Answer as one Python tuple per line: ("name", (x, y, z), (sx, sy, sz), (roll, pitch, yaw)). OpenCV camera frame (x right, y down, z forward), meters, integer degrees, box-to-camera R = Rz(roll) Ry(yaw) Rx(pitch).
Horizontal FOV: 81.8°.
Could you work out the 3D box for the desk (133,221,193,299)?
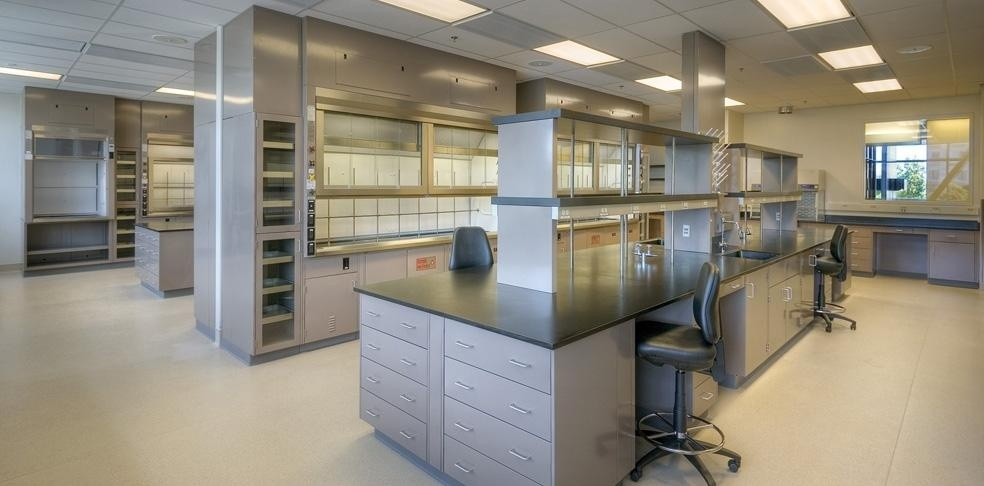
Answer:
("desk", (-6.444, 0.364, 11.490), (0.985, 1.083, 1.576), (1, 5, -38))
